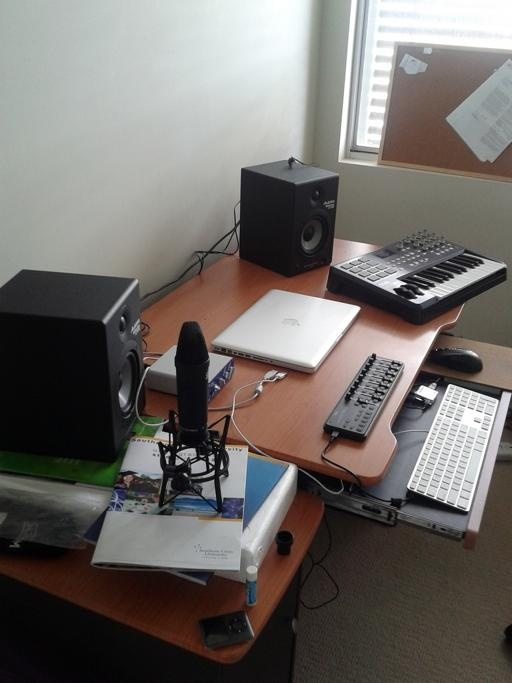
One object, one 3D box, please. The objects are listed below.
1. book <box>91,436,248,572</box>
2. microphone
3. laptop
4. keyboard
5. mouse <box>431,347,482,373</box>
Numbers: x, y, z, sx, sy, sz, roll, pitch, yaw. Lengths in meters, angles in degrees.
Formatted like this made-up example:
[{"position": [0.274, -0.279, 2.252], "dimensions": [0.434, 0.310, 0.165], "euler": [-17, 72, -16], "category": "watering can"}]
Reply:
[{"position": [-0.116, 0.228, 0.784], "dimensions": [0.198, 0.046, 0.273], "euler": [2, 32, 0], "category": "book"}, {"position": [-0.081, 0.053, 0.670], "dimensions": [0.040, 0.187, 0.054], "euler": [-4, 29, -9], "category": "microphone"}, {"position": [0.071, -0.030, 1.292], "dimensions": [0.188, 0.031, 0.276], "euler": [13, 36, 21], "category": "laptop"}, {"position": [0.421, 0.204, 1.106], "dimensions": [0.111, 0.041, 0.404], "euler": [13, 30, 25], "category": "keyboard"}, {"position": [0.520, 0.049, 1.372], "dimensions": [0.104, 0.042, 0.065], "euler": [13, 40, 24], "category": "mouse"}]
